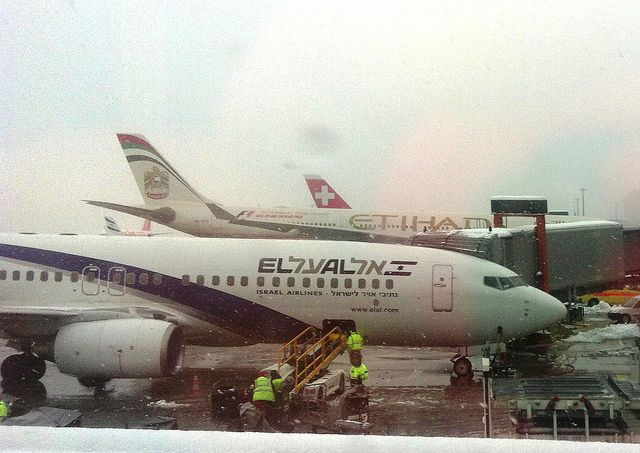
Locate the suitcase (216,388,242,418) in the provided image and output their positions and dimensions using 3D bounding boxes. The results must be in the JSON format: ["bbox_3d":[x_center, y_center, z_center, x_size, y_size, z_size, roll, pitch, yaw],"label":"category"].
[{"bbox_3d":[-2.247,4.354,15.926,0.580,0.679,0.162,-2,-6,15],"label":"suitcase"}]

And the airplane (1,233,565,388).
[{"bbox_3d":[-2.045,2.055,18.368,8.639,2.567,7.980,0,4,6],"label":"airplane"}]

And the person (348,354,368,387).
[{"bbox_3d":[0.921,3.560,15.847,0.408,0.625,0.722,0,-6,2],"label":"person"}]
